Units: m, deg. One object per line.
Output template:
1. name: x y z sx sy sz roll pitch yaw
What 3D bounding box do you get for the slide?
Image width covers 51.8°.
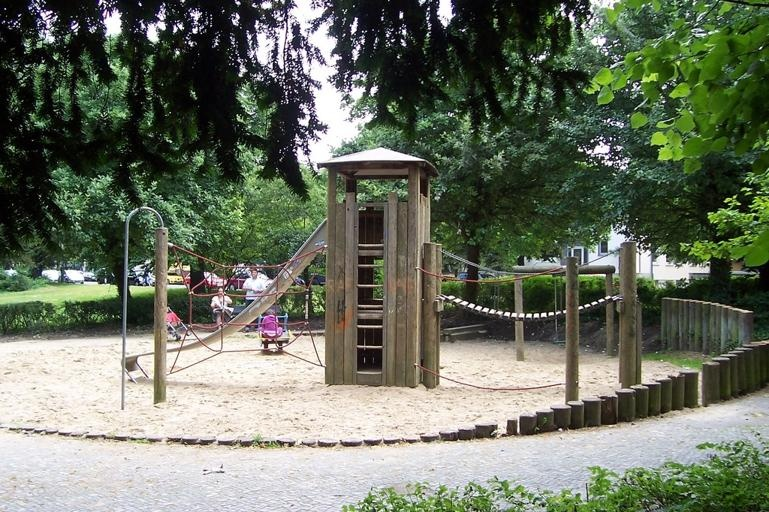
1. slide: -4.065 1.016 20.400 6.561 1.179 0.553 -35 15 35

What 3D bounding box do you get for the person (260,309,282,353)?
1. person: -2.570 1.712 17.990 0.537 0.721 1.137 -1 -3 -4
